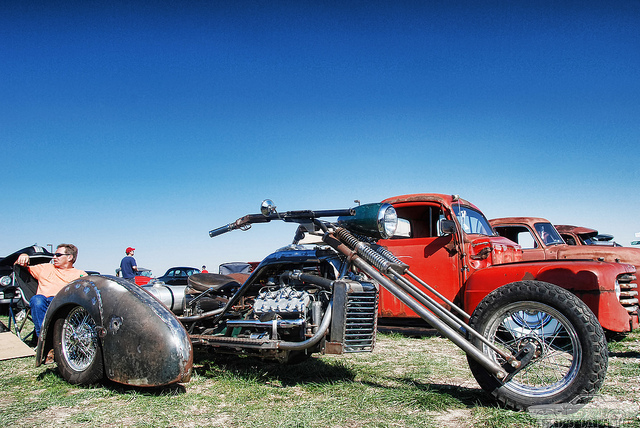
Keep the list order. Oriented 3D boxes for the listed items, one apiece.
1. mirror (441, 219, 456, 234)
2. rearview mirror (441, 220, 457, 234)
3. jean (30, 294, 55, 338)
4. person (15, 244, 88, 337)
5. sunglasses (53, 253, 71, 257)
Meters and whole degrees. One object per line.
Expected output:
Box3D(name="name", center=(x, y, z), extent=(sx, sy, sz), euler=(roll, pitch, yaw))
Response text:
Box3D(name="mirror", center=(2.058, 0.211, 6.941), extent=(0.269, 0.169, 0.035), euler=(1, 0, 13))
Box3D(name="rearview mirror", center=(2.066, 0.201, 6.937), extent=(0.240, 0.202, 0.156), euler=(0, -3, 4))
Box3D(name="jean", center=(-3.632, 1.309, 5.616), extent=(0.251, 0.493, 0.416), euler=(2, -4, -33))
Box3D(name="person", center=(-3.670, 0.979, 5.875), extent=(0.793, 1.116, 1.744), euler=(2, -4, -34))
Box3D(name="sunglasses", center=(-3.642, 0.575, 6.054), extent=(0.161, 0.044, 0.035), euler=(0, -3, 6))
